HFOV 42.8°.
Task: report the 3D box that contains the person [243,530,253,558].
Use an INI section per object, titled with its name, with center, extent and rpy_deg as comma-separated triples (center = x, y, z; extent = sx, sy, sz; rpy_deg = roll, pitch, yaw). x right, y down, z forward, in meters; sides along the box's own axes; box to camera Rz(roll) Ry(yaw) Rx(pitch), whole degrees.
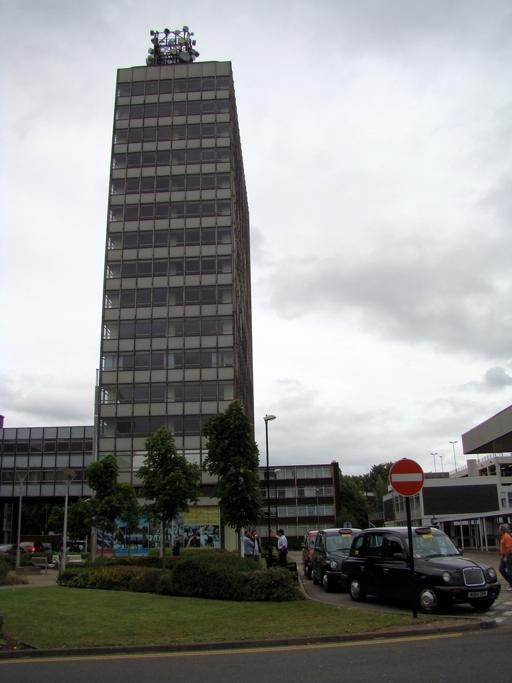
[person]
center = -0.255, 8.005, 25.528
extent = 0.403, 0.839, 0.997
rpy_deg = -1, -11, -1

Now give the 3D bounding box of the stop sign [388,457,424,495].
[stop sign]
center = 2.814, 2.561, 12.181
extent = 0.569, 0.710, 0.529
rpy_deg = -4, -12, 10
